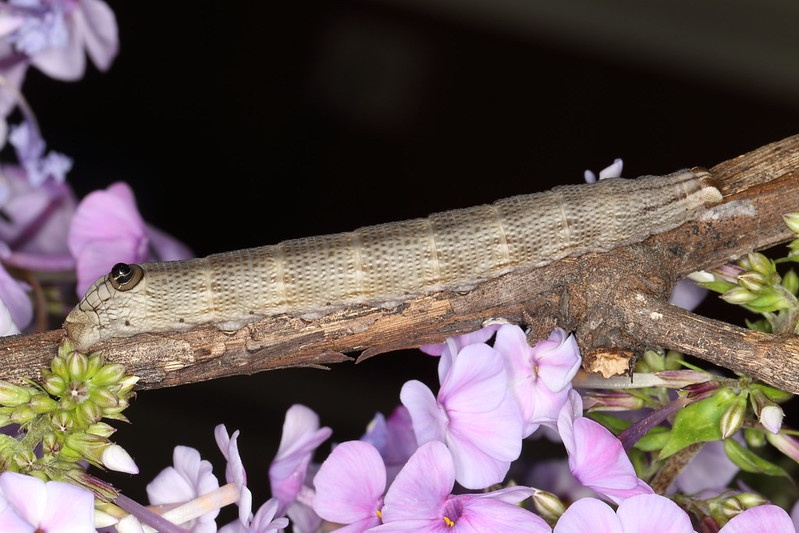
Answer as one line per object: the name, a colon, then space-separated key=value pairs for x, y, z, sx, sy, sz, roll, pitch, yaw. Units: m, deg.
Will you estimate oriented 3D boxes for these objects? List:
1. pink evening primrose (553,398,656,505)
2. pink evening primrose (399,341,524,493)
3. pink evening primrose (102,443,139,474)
pink evening primrose: x=0.387 y=0.402 z=1.962 sx=0.178 sy=0.092 sz=0.234 roll=-18 pitch=63 yaw=-43
pink evening primrose: x=0.155 y=0.327 z=1.968 sx=0.311 sy=0.294 sz=0.147 roll=31 pitch=-9 yaw=-1
pink evening primrose: x=-0.589 y=0.408 z=1.930 sx=0.081 sy=0.047 sz=0.039 roll=27 pitch=-24 yaw=1
